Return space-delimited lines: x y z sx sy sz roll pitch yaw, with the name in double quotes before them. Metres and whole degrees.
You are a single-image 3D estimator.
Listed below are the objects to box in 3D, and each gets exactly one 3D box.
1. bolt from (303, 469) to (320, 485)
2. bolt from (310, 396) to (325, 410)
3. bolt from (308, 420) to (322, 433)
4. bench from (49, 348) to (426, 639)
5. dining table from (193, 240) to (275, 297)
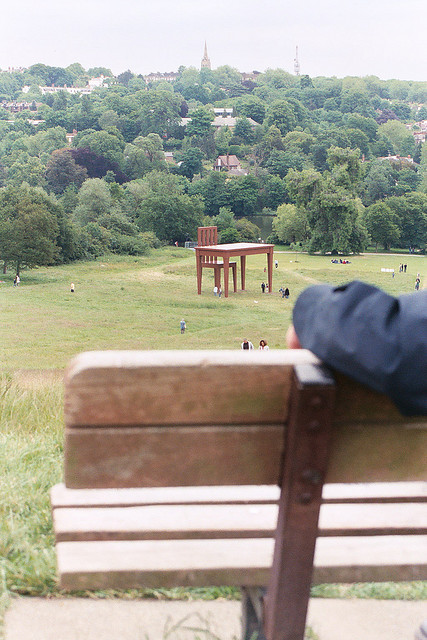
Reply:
"bolt" 0.244 0.388 2.035 0.037 0.037 0.009 9 9 -1
"bolt" 0.246 0.195 1.946 0.032 0.032 0.008 -7 13 -4
"bolt" 0.249 0.252 1.979 0.029 0.031 0.008 -8 11 -2
"bench" 0.064 0.464 2.161 1.004 0.996 0.443 0 15 -6
"dining table" 1.100 -2.517 40.728 3.595 2.517 2.287 -9 12 -44
